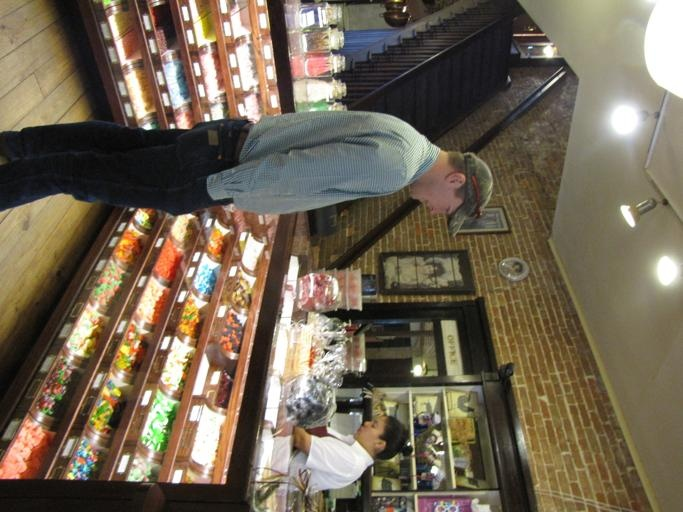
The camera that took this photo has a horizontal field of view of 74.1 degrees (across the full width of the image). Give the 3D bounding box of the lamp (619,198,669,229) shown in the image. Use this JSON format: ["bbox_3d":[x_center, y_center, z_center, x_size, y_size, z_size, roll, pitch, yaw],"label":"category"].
[{"bbox_3d":[2.132,-0.312,3.214,0.245,0.145,0.140,-22,-81,3],"label":"lamp"}]
